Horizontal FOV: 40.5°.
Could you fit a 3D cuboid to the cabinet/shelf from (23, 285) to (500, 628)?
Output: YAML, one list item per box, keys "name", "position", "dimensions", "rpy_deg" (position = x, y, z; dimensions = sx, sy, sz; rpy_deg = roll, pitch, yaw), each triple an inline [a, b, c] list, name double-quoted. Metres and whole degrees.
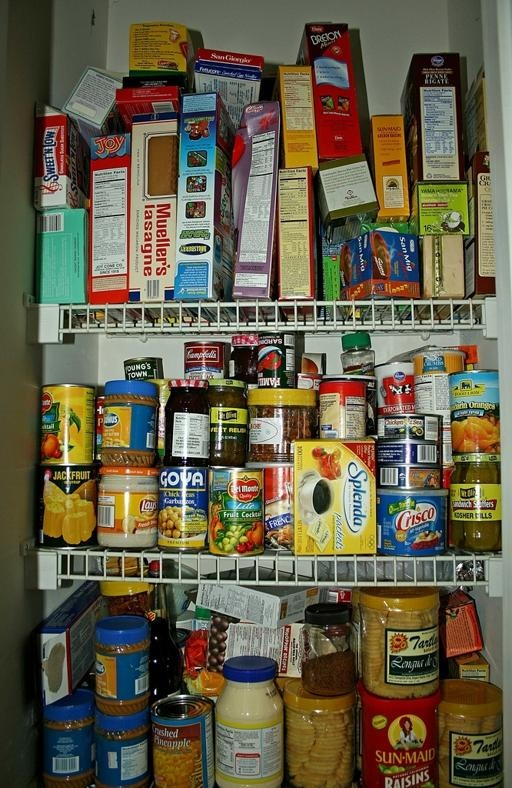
- name: "cabinet/shelf"
  position: [0.023, 0.111, 1.270]
  dimensions: [0.823, 0.381, 0.419]
  rpy_deg: [-1, 1, 5]
